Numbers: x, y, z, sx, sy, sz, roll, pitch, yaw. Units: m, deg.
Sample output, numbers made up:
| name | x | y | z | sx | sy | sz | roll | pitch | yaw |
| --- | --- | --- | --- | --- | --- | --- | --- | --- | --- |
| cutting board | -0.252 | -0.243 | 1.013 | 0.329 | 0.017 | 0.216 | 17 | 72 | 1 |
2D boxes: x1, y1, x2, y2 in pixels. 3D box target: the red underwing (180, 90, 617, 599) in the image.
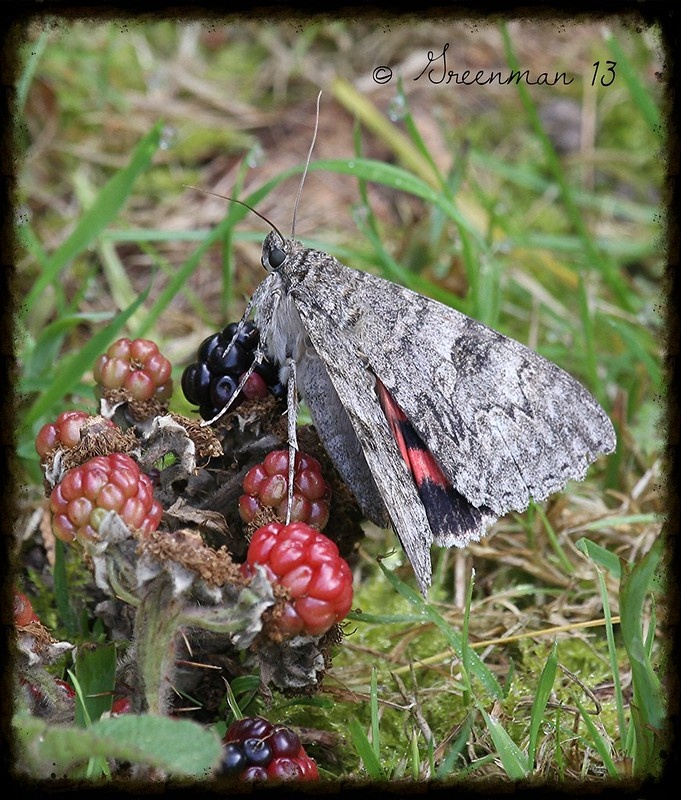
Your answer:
| name | x | y | z | sx | sy | sz | roll | pitch | yaw |
| --- | --- | --- | --- | --- | --- | --- | --- | --- | --- |
| red underwing | 0.016 | -0.113 | 2.688 | 1.442 | 0.640 | 1.111 | 43 | 41 | 7 |
